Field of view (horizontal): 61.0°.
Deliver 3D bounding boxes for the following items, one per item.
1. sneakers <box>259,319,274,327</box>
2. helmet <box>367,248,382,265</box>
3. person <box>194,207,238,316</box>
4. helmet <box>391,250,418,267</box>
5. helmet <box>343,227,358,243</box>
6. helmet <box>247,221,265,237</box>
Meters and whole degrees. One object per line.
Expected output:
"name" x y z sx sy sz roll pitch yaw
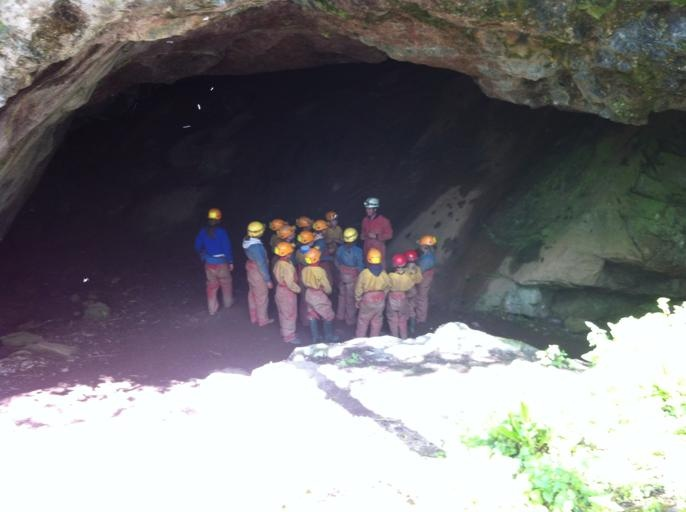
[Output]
"sneakers" -1.292 1.130 9.882 0.263 0.160 0.091 -7 0 -7
"helmet" 0.459 0.004 8.746 0.197 0.123 0.248 -3 18 -15
"person" -2.186 0.105 9.929 0.629 1.841 0.835 2 11 -9
"helmet" 0.962 0.048 9.119 0.413 0.158 0.265 -7 25 -20
"helmet" 0.112 -0.334 9.307 0.199 0.246 0.325 3 10 -3
"helmet" -1.398 -0.432 9.326 0.226 0.252 0.465 1 10 -12
